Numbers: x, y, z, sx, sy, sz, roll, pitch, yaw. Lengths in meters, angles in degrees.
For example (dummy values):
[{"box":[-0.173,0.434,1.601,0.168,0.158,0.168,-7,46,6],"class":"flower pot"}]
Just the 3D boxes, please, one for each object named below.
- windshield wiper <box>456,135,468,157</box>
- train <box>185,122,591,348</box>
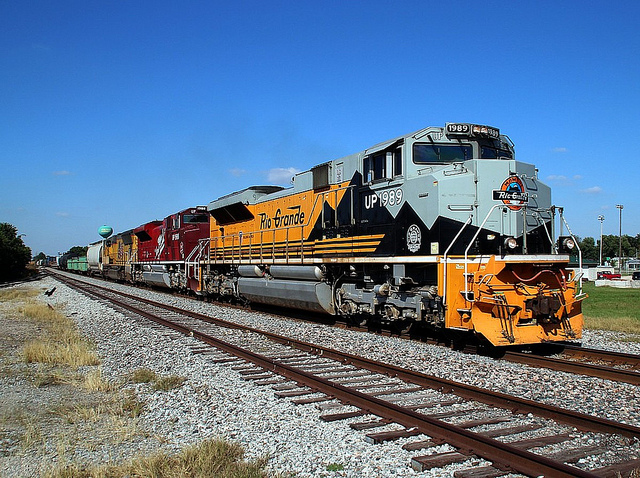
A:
[{"box":[3.156,-2.071,9.276,0.068,0.491,0.064,-27,8,3],"class":"windshield wiper"},{"box":[-0.481,0.029,17.323,5.039,5.278,20.785,1,0,-24],"class":"train"}]
